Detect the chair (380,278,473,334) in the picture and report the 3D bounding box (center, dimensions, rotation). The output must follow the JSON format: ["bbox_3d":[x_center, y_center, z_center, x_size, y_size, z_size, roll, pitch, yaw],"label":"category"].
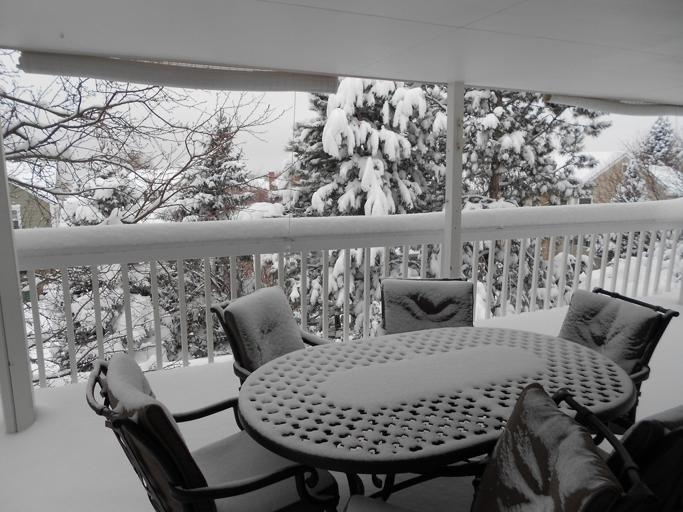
[{"bbox_3d":[0.565,0.312,3.440,0.609,0.329,0.235,-1,10,6],"label":"chair"}]

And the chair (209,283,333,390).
[{"bbox_3d":[-0.487,0.442,3.135,0.466,0.730,0.617,-17,-1,-40],"label":"chair"}]

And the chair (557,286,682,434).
[{"bbox_3d":[1.526,0.450,3.096,0.709,0.931,0.599,-8,9,-22],"label":"chair"}]
